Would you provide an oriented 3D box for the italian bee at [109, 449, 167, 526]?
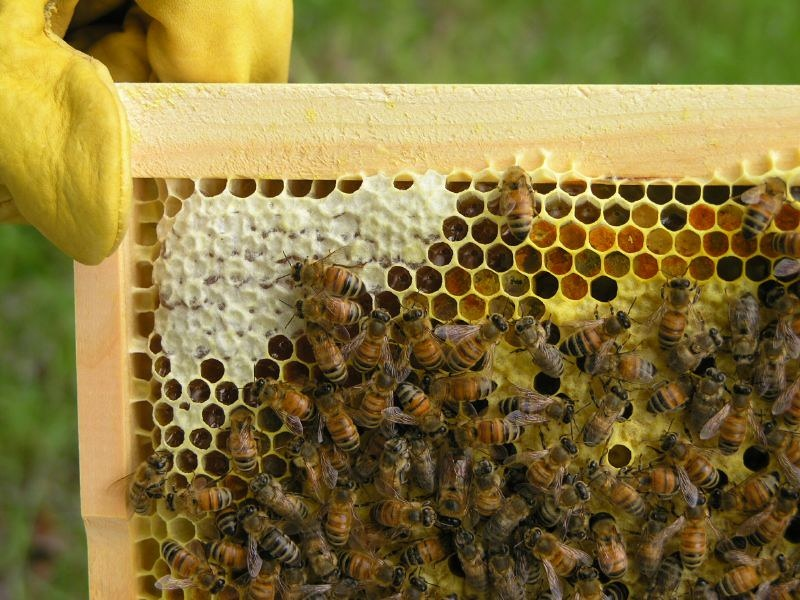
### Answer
[{"bbox_3d":[-0.945,0.691,4.407,0.220,0.077,0.207,-55,41,14],"label":"italian bee"}]
